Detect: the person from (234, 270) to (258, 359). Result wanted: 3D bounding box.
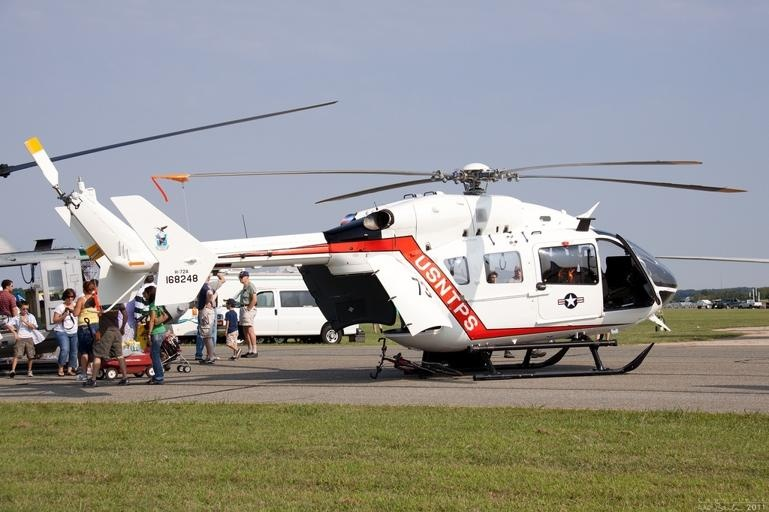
[{"bbox_3d":[-3.745,1.631,22.418,0.807,2.110,0.641,-1,-1,-1],"label":"person"}]

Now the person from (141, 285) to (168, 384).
[{"bbox_3d":[-4.625,1.592,17.285,0.794,2.309,0.653,0,-2,-1],"label":"person"}]

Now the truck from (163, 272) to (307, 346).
[{"bbox_3d":[-4.228,1.883,29.382,6.325,2.256,3.317,-1,-1,-9],"label":"truck"}]

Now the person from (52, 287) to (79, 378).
[{"bbox_3d":[-7.005,1.697,18.651,0.636,1.918,0.556,1,-3,-2],"label":"person"}]
